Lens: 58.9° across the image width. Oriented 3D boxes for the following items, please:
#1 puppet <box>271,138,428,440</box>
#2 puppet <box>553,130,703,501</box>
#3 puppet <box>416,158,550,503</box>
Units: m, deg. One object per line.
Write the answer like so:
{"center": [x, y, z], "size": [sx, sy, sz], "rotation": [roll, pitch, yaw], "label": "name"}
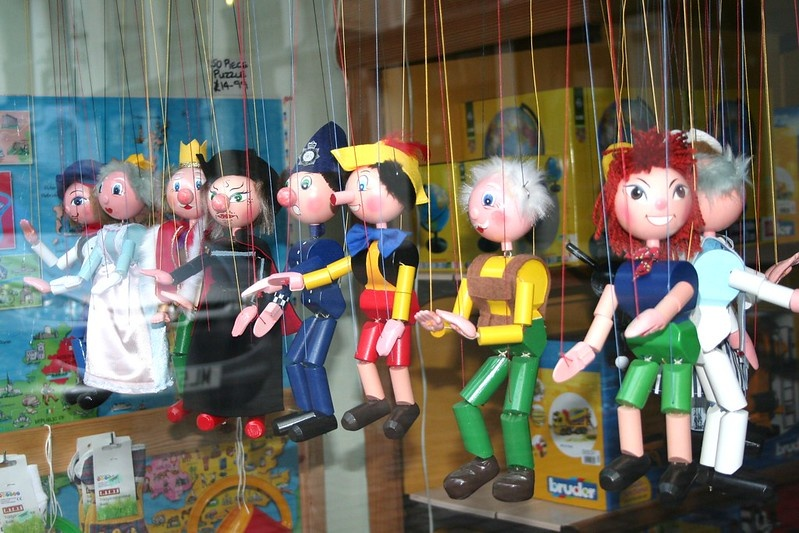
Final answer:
{"center": [-0.109, 0.076, 2.585], "size": [0.447, 0.973, 0.306], "rotation": [-5, -1, 29], "label": "puppet"}
{"center": [0.743, 0.145, 2.238], "size": [0.466, 1.194, 0.275], "rotation": [-5, -1, 17], "label": "puppet"}
{"center": [0.309, 0.202, 2.385], "size": [0.467, 1.116, 0.269], "rotation": [-5, -1, 10], "label": "puppet"}
